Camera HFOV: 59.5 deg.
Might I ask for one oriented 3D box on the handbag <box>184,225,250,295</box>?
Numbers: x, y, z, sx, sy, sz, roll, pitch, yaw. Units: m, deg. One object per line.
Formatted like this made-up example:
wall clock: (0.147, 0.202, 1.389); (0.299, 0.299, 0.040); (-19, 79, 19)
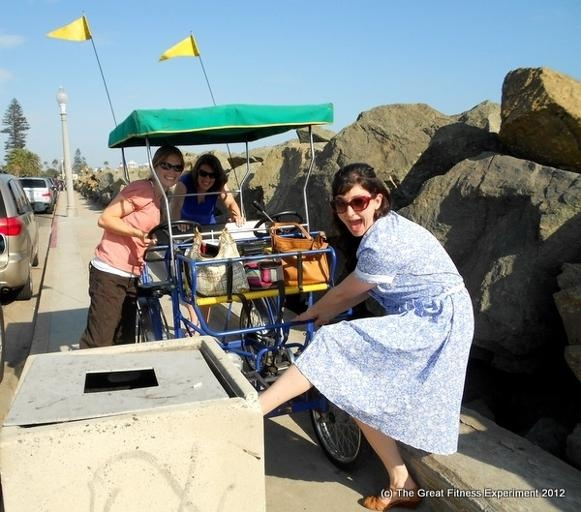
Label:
handbag: (-0.507, 0.050, 3.579); (0.524, 0.439, 0.538); (-5, 7, 15)

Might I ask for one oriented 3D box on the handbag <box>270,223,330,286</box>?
handbag: (0.006, -0.016, 3.730); (0.528, 0.408, 0.381); (-1, 1, -32)

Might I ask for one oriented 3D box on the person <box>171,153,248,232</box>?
person: (-0.865, -0.562, 5.595); (1.011, 1.005, 1.034); (2, 14, -4)

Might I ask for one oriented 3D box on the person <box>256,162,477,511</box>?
person: (0.542, 0.569, 2.965); (1.004, 2.146, 0.775); (1, 16, 12)

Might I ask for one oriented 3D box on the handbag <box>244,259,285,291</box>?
handbag: (-0.184, 0.136, 3.652); (0.224, 0.084, 0.263); (-3, 7, -12)
